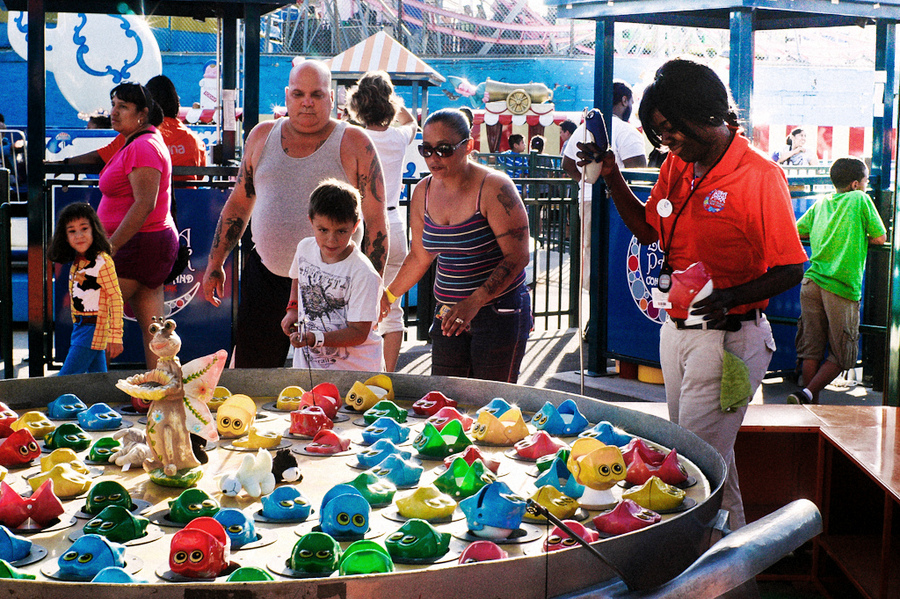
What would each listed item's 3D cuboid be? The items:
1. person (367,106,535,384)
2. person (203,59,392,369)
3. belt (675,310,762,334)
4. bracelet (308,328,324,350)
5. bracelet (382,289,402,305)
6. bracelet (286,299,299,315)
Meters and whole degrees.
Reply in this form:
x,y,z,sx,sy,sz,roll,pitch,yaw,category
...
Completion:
x,y,z,sx,sy,sz,roll,pitch,yaw,category
-0.013,0.099,4.991,0.968,2.155,0.849,-3,2,-7,person
-0.895,-0.113,5.382,1.086,2.528,0.779,4,14,6,person
1.238,0.110,4.037,0.216,0.077,0.173,-3,5,2,belt
-0.662,0.204,4.419,0.062,0.102,0.098,3,-7,-1,bracelet
-0.382,-0.016,5.505,0.079,0.049,0.093,27,15,-22,bracelet
-0.846,0.043,4.713,0.056,0.043,0.075,17,-23,-16,bracelet
